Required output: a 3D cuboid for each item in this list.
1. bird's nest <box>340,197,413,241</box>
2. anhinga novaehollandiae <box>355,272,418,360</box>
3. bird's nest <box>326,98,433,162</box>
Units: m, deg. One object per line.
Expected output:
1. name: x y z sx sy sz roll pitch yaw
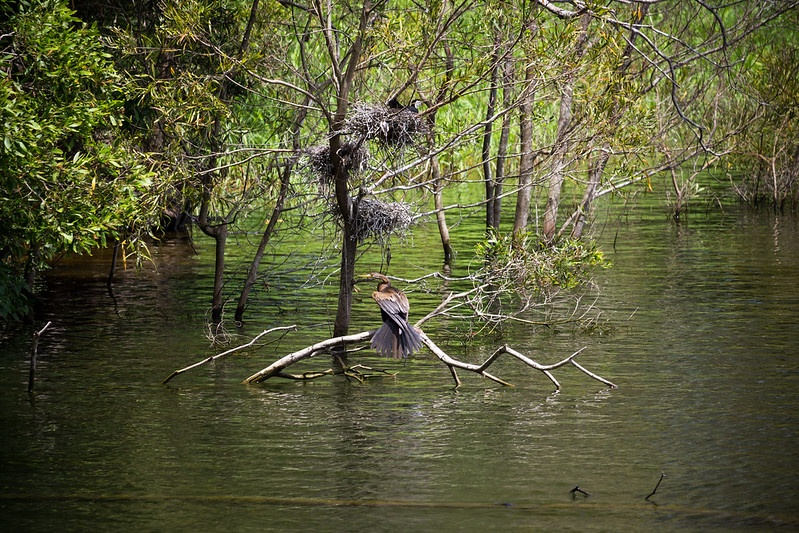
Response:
1. bird's nest: -0.289 -0.790 16.741 0.780 0.371 0.722 4 16 30
2. anhinga novaehollandiae: -0.160 0.919 15.537 0.635 1.533 0.661 -26 -45 9
3. bird's nest: -0.341 -2.337 16.062 1.526 0.588 1.339 13 -22 18
